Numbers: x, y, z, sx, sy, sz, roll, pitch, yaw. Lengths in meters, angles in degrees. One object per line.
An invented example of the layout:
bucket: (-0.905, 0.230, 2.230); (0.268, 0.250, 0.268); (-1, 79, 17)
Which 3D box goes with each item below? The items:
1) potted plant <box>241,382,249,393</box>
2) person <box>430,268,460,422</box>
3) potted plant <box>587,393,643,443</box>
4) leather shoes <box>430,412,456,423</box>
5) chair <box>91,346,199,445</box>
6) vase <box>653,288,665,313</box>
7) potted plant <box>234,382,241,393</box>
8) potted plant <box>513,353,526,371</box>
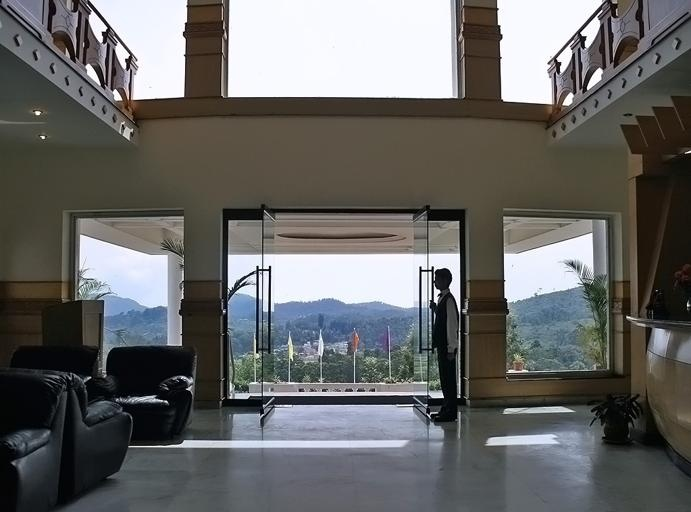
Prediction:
potted plant: (-1.541, 2.020, 8.802); (0.116, 0.129, 0.059); (0, -8, -3)
person: (1.362, 1.219, 8.050); (0.389, 2.074, 0.425); (0, -1, 20)
potted plant: (3.259, 1.919, 6.960); (0.556, 0.602, 0.581); (-2, -3, 41)
leather shoes: (1.343, 2.210, 7.898); (0.334, 0.098, 0.207); (0, 0, 8)
chair: (-2.531, 1.803, 7.512); (1.053, 1.078, 1.058); (0, -12, -4)
vase: (3.595, 0.519, 6.614); (0.113, 0.251, 0.194); (0, -1, 32)
potted plant: (-1.653, 2.015, 8.795); (0.106, 0.066, 0.107); (1, 5, 4)
potted plant: (2.701, 1.660, 8.982); (0.200, 0.291, 0.219); (1, -7, 1)
